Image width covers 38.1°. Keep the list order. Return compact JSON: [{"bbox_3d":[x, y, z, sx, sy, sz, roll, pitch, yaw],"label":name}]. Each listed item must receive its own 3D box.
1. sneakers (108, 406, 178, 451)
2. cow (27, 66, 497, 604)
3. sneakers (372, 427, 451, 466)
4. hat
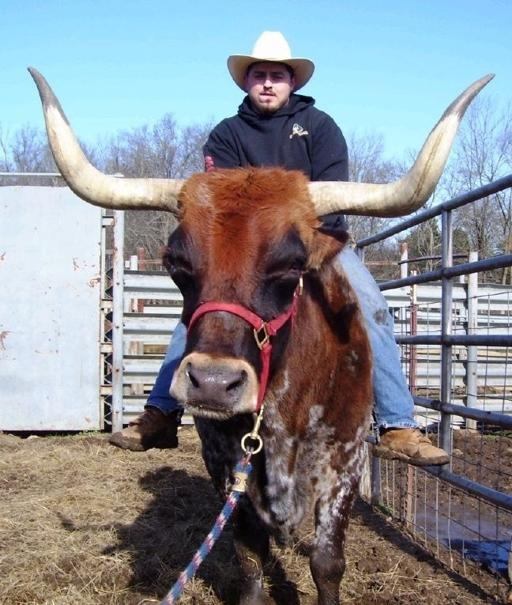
[{"bbox_3d":[-0.701,0.744,4.437,0.204,0.238,0.585,1,-8,30],"label":"sneakers"},{"bbox_3d":[0.013,0.212,3.398,1.666,2.587,0.965,3,6,-21],"label":"cow"},{"bbox_3d":[0.913,0.865,4.491,0.495,0.216,0.185,-4,-3,35],"label":"sneakers"},{"bbox_3d":[0.059,-1.626,4.894,0.605,0.262,0.661,6,9,-3],"label":"hat"}]
